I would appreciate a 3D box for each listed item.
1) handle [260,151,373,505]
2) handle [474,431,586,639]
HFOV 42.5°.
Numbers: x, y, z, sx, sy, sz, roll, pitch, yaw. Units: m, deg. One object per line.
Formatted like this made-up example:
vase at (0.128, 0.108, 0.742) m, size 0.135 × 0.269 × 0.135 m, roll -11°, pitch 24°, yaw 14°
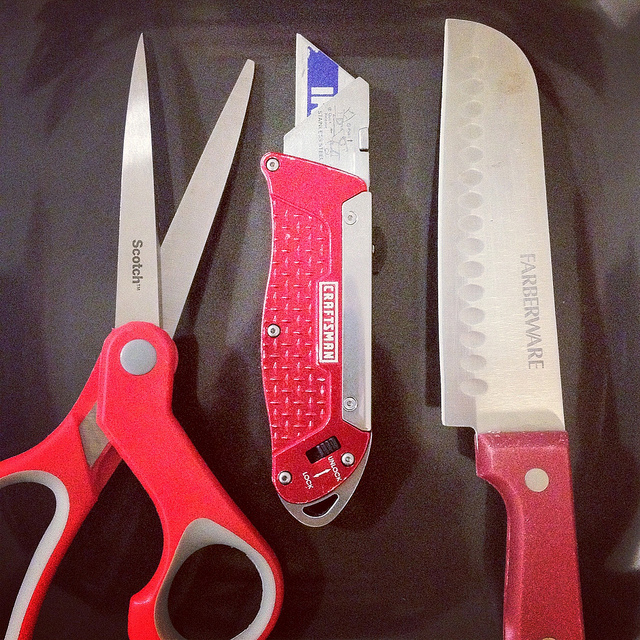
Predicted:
handle at (0.008, 0.008, 0.860) m, size 0.143 × 0.056 × 0.400 m, roll -10°, pitch 75°, yaw 34°
handle at (0.202, 0.207, 0.798) m, size 0.088 × 0.040 × 0.197 m, roll -2°, pitch 85°, yaw -1°
